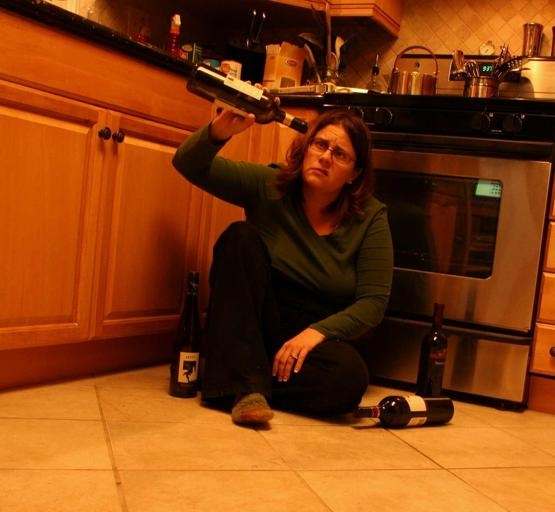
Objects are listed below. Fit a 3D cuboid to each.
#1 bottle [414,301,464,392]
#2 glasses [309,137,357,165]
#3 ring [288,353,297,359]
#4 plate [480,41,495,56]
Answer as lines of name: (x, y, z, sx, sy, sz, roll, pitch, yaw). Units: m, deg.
bottle: (0.533, 0.319, 1.587, 0.080, 0.313, 0.170, 5, -4, 1)
glasses: (0.157, -0.300, 1.342, 0.084, 0.028, 0.088, 28, -12, 1)
ring: (0.041, 0.265, 1.242, 0.015, 0.018, 0.020, -2, -8, 10)
plate: (1.016, -0.997, 2.236, 0.071, 0.071, 0.025, 4, -4, 22)
